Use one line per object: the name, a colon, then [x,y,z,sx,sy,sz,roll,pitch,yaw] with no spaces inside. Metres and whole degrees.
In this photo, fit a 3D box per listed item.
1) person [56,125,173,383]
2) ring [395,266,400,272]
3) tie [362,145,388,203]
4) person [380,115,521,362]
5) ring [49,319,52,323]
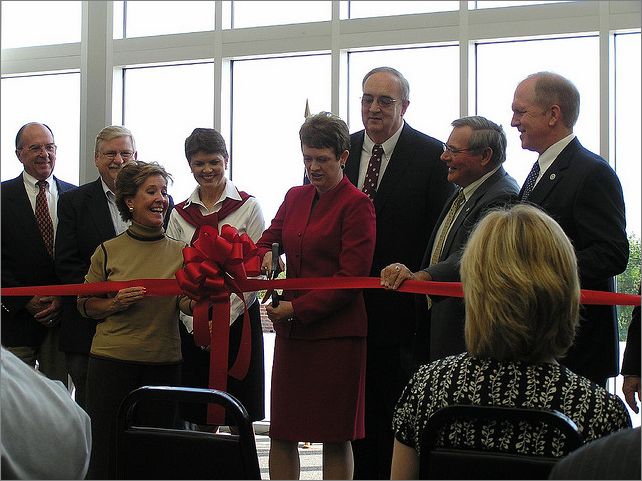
person: [-1.198,0.360,3.713,0.673,1.892,0.564,1,9,-17]
ring: [0.309,0.112,2.633,0.017,0.017,0.006,0,-20,-8]
tie: [0.272,-0.369,3.291,0.064,0.398,0.046,12,-32,9]
person: [0.610,0.211,3.064,0.577,1.539,0.535,2,12,13]
ring: [-1.530,0.454,3.680,0.004,0.018,0.017,6,18,23]
